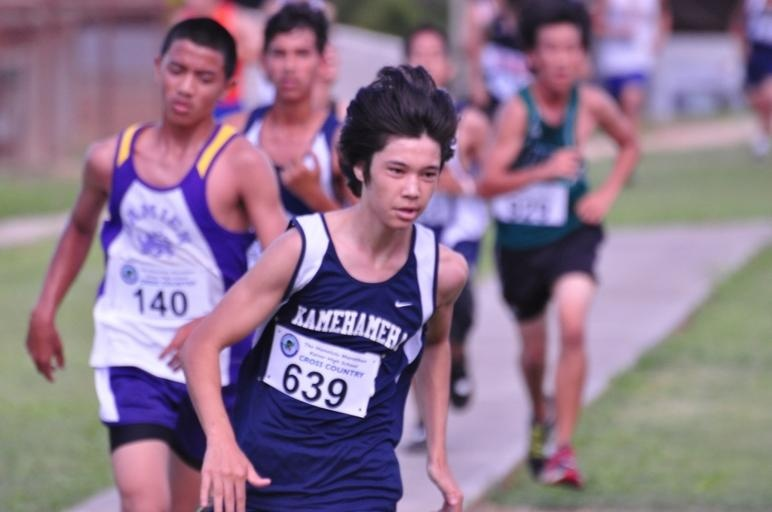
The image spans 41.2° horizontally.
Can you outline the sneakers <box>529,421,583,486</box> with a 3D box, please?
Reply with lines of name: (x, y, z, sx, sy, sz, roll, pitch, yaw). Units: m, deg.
sneakers: (0.902, 1.058, 5.501, 0.199, 0.165, 0.342, 0, 49, -20)
